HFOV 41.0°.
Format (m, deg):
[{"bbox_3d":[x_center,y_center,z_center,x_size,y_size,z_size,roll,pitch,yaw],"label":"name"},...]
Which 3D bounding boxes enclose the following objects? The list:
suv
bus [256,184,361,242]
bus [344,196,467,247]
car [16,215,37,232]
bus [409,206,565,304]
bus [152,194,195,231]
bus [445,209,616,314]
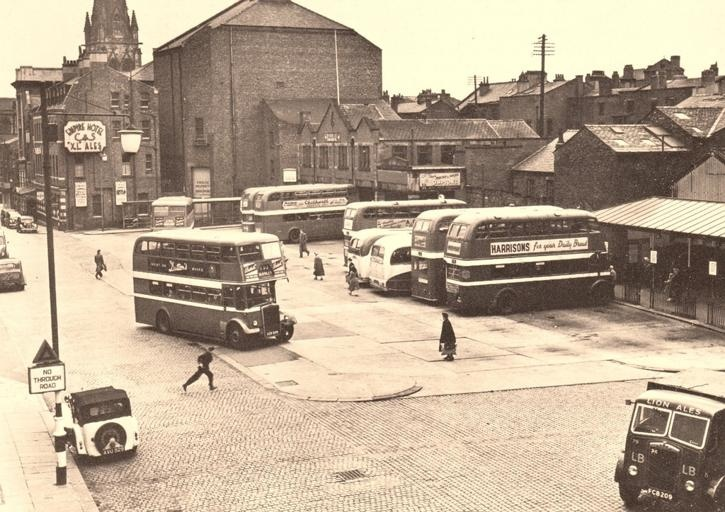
[{"bbox_3d":[-8.789,5.404,32.504,2.372,1.936,3.954,-8,7,-28],"label":"suv"},{"bbox_3d":[-4.029,-3.529,77.710,9.666,4.165,2.766,-7,3,-34],"label":"bus"},{"bbox_3d":[3.544,-2.188,66.780,10.373,4.077,3.287,-3,9,-17],"label":"bus"},{"bbox_3d":[-33.485,-3.092,96.501,1.643,1.310,2.853,-6,12,-20],"label":"car"},{"bbox_3d":[6.475,-0.023,48.605,9.335,5.385,3.351,-6,11,-26],"label":"bus"},{"bbox_3d":[-16.329,-3.530,82.725,2.800,2.828,4.843,-2,11,-1],"label":"bus"},{"bbox_3d":[8.730,0.071,50.029,8.978,4.739,3.310,-4,2,-19],"label":"bus"}]
